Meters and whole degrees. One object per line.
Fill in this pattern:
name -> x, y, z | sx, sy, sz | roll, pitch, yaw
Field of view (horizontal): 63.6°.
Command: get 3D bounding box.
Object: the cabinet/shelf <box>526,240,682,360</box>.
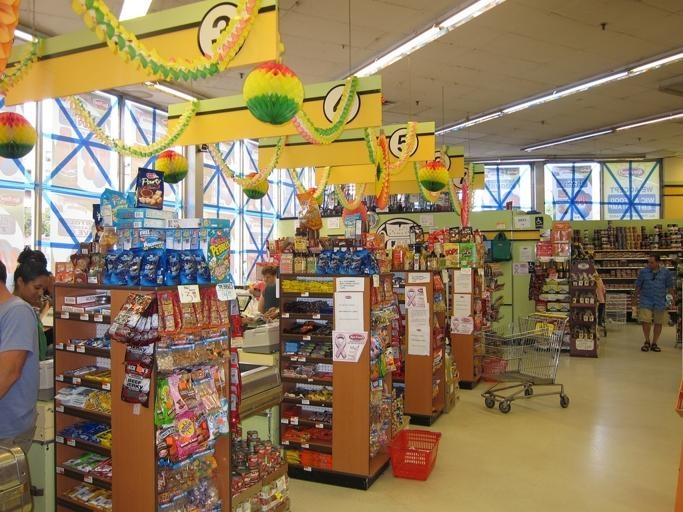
cabinet/shelf -> 6.142, 1.039, 12.388 | 2.458, 2.325, 3.351 | -1, -2, 15

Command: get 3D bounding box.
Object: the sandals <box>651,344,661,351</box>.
sandals -> 6.815, 2.002, 11.943 | 0.110, 0.127, 0.310 | -2, -7, 18

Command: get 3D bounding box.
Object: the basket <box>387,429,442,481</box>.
basket -> 0.814, 2.243, 6.253 | 0.405, 0.280, 0.556 | 0, -2, 13

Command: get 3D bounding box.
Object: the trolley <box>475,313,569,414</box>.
trolley -> 2.851, 1.584, 8.473 | 1.176, 1.377, 0.955 | 1, -4, -16

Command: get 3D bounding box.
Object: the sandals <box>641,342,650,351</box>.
sandals -> 6.603, 1.975, 11.947 | 0.119, 0.149, 0.368 | -4, -8, 29
